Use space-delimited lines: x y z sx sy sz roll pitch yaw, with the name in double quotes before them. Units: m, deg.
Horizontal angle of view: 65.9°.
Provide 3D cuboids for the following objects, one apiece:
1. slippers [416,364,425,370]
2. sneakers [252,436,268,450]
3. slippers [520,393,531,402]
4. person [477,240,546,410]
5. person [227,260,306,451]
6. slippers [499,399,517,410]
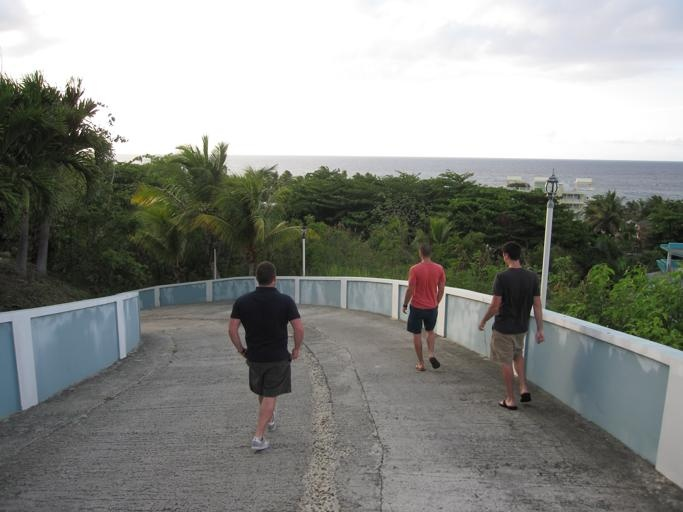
"slippers" 1.320 1.841 8.759 0.160 0.082 0.182 0 8 4
"sneakers" -0.929 2.158 6.009 0.088 0.122 0.241 1 -2 14
"slippers" 2.512 1.941 7.181 0.137 0.107 0.151 2 -7 -6
"person" 2.373 0.923 7.207 0.715 2.218 0.513 -4 8 -27
"person" -0.871 1.139 6.116 0.828 2.130 0.504 -2 7 -14
"slippers" 2.247 2.014 7.090 0.243 0.088 0.145 3 8 20
